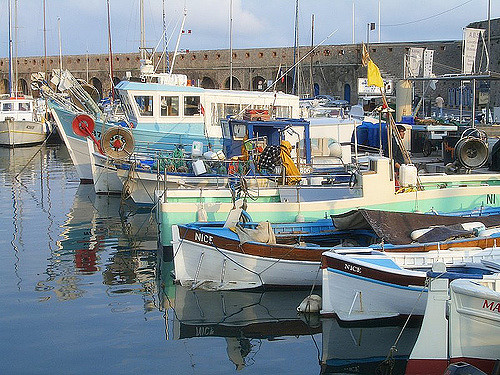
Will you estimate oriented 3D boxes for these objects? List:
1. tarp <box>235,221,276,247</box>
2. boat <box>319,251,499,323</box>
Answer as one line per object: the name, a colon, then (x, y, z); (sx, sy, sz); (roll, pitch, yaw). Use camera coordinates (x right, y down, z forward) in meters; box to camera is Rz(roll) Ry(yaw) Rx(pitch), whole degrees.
tarp: (0.160, 1.153, 26.721); (0.906, 0.571, 0.731); (0, 5, -32)
boat: (3.604, 2.352, 25.829); (4.089, 1.332, 1.568); (2, -3, -2)
